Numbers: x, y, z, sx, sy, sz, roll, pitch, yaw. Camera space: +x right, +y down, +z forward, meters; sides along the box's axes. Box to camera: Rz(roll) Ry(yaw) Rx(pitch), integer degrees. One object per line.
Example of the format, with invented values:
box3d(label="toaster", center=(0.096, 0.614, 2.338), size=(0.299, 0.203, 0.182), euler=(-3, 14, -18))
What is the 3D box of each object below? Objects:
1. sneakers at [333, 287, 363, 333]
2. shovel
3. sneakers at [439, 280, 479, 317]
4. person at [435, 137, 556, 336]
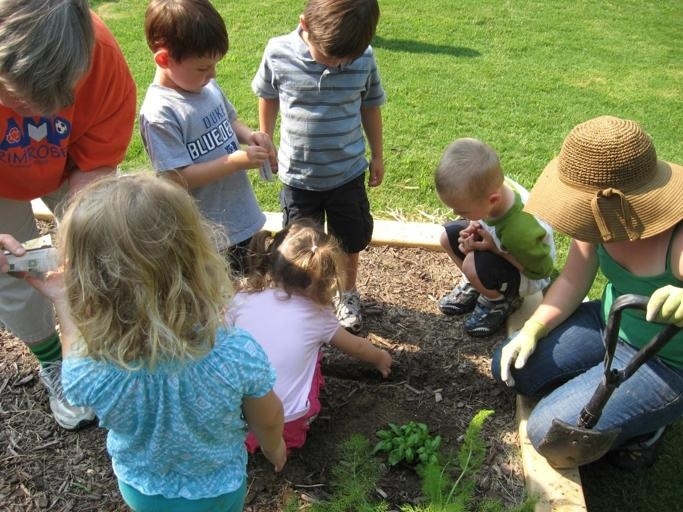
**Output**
box3d(label="sneakers", center=(0.043, 0.333, 3.946), size=(0.107, 0.149, 0.335), euler=(-2, 15, -5))
box3d(label="shovel", center=(1.311, 0.645, 3.235), size=(0.480, 1.330, 0.445), euler=(12, 56, 6))
box3d(label="sneakers", center=(0.721, 0.268, 4.103), size=(0.282, 0.191, 0.143), euler=(-6, 39, 4))
box3d(label="person", center=(0.879, -0.058, 3.888), size=(0.590, 1.054, 0.779), euler=(-13, 43, -1))
